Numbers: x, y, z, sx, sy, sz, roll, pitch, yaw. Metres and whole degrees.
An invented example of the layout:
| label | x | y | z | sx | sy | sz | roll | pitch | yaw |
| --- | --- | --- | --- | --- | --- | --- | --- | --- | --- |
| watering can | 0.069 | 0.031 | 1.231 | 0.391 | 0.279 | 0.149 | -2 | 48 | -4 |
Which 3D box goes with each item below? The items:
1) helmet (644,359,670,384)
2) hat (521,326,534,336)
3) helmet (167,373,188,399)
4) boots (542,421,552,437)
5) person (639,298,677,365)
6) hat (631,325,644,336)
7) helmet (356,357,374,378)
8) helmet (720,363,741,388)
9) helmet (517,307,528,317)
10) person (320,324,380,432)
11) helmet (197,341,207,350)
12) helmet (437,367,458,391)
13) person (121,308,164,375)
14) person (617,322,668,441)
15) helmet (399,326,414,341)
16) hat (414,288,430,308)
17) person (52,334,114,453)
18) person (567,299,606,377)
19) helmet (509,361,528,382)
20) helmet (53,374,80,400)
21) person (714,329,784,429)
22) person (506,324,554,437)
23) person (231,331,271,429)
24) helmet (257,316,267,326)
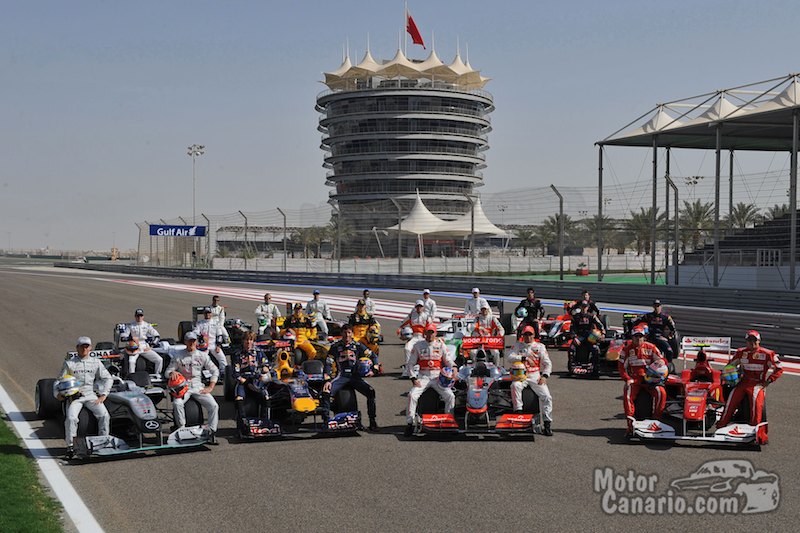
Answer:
| label | x | y | z | sx | sy | sz | roll | pitch | yaw |
| --- | --- | --- | --- | --- | --- | --- | --- | --- | --- |
| helmet | 5.943 | 2.442 | 23.366 | 0.514 | 0.481 | 0.434 | -1 | -8 | 36 |
| hat | 3.013 | 1.506 | 23.726 | 0.255 | 0.187 | 0.415 | 0 | -1 | 8 |
| helmet | -4.975 | 2.659 | 22.532 | 0.425 | 0.501 | 0.574 | -8 | 23 | -11 |
| boots | 3.308 | 3.646 | 22.745 | 0.315 | 0.353 | 0.217 | -2 | 0 | -4 |
| person | 7.170 | 2.048 | 28.091 | 1.008 | 2.188 | 0.865 | -6 | -6 | 20 |
| hat | 6.070 | 1.650 | 25.792 | 0.242 | 0.206 | 0.401 | -3 | -20 | -1 |
| helmet | -0.836 | 2.412 | 23.734 | 0.354 | 0.484 | 0.397 | 1 | 13 | -3 |
| helmet | 7.522 | 2.485 | 22.978 | 0.389 | 0.488 | 0.487 | -1 | -2 | 11 |
| helmet | 3.972 | 1.501 | 32.625 | 0.295 | 0.289 | 0.230 | -23 | -5 | 32 |
| person | -1.146 | 2.606 | 23.817 | 1.132 | 2.390 | 1.088 | 2 | 0 | 14 |
| helmet | -4.599 | 1.841 | 23.397 | 0.161 | 0.212 | 0.169 | 2 | -2 | 3 |
| helmet | 1.102 | 2.584 | 23.389 | 0.384 | 0.405 | 0.520 | 14 | 19 | -12 |
| person | -6.653 | 2.079 | 25.888 | 0.948 | 1.841 | 1.006 | -4 | 7 | -30 |
| person | 5.597 | 2.542 | 23.397 | 0.999 | 2.409 | 0.982 | 1 | 0 | -2 |
| helmet | 0.215 | 2.004 | 30.379 | 0.389 | 0.367 | 0.334 | -2 | -1 | 20 |
| hat | 0.694 | 0.996 | 32.350 | 0.419 | 0.444 | 0.870 | 4 | -1 | 6 |
| person | -6.893 | 2.779 | 21.953 | 1.139 | 2.348 | 0.935 | -1 | 1 | -20 |
| person | 5.204 | 2.000 | 28.484 | 0.984 | 2.078 | 1.391 | 1 | 0 | 9 |
| helmet | 2.718 | 2.422 | 23.263 | 0.353 | 0.413 | 0.405 | 1 | -4 | -32 |
| helmet | -7.226 | 2.600 | 21.971 | 0.422 | 0.440 | 0.525 | -8 | -14 | -46 |
| person | 7.906 | 2.563 | 22.788 | 1.115 | 2.086 | 0.977 | 0 | 1 | 39 |
| person | 2.996 | 2.607 | 23.398 | 1.075 | 2.292 | 1.021 | 0 | 0 | 4 |
| person | -3.432 | 2.666 | 23.330 | 0.868 | 2.247 | 1.255 | 1 | 4 | -27 |
| helmet | -4.147 | 1.661 | 30.635 | 0.257 | 0.260 | 0.085 | -4 | 0 | 29 |
